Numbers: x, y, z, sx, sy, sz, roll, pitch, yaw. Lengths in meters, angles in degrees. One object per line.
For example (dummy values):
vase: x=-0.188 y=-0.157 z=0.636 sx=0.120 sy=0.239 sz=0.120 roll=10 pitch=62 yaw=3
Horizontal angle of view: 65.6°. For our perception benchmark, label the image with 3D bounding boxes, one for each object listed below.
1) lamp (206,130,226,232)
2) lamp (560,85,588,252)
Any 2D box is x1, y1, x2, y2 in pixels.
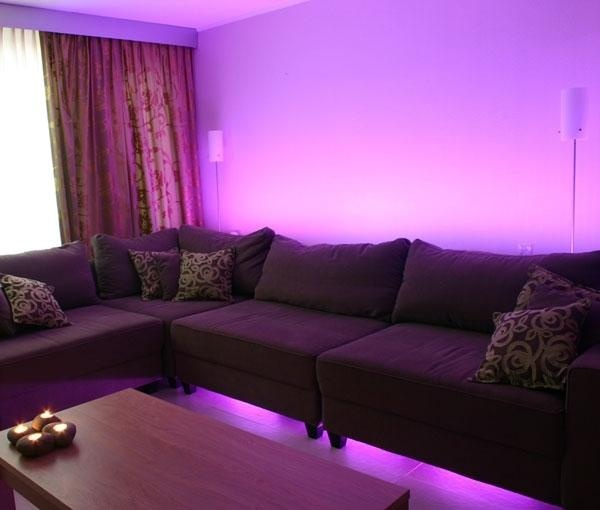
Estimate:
lamp: x=-0.843 y=-0.756 z=4.852 sx=0.175 sy=1.028 sz=0.507 roll=-5 pitch=12 yaw=-10
lamp: x=1.660 y=-0.502 z=2.880 sx=0.135 sy=0.999 sz=0.334 roll=5 pitch=14 yaw=30
